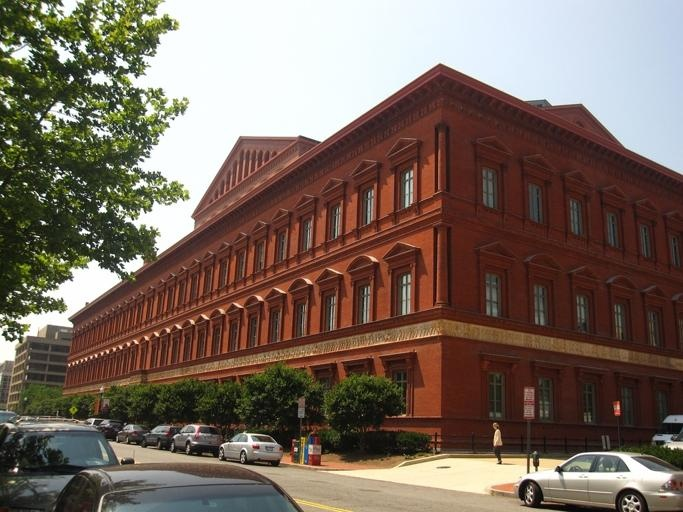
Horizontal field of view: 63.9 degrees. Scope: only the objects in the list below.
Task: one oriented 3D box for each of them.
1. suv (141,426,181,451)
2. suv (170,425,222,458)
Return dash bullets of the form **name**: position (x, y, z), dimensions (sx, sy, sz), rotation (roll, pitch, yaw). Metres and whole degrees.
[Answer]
- **suv**: position (-12.740, 13.011, 39.347), dimensions (1.911, 1.484, 4.189), rotation (13, -18, -38)
- **suv**: position (-9.100, 11.394, 34.097), dimensions (1.817, 1.430, 3.993), rotation (15, -21, -37)
